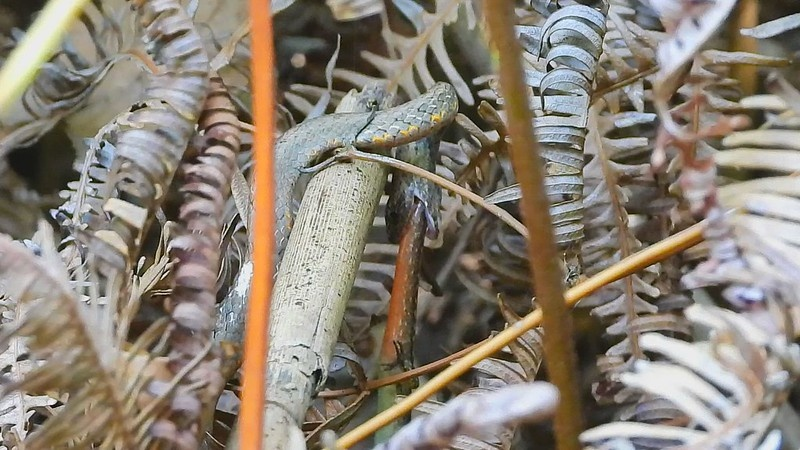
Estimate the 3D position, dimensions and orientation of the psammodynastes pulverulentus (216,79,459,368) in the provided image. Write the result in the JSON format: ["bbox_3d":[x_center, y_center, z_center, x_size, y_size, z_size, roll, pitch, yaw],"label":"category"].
[{"bbox_3d":[-0.051,-0.055,1.178,0.136,0.459,0.105,31,-16,53],"label":"psammodynastes pulverulentus"}]

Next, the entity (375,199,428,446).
[{"bbox_3d":[0.019,0.094,1.154,0.042,0.308,0.033,2,-23,25],"label":"entity"}]
